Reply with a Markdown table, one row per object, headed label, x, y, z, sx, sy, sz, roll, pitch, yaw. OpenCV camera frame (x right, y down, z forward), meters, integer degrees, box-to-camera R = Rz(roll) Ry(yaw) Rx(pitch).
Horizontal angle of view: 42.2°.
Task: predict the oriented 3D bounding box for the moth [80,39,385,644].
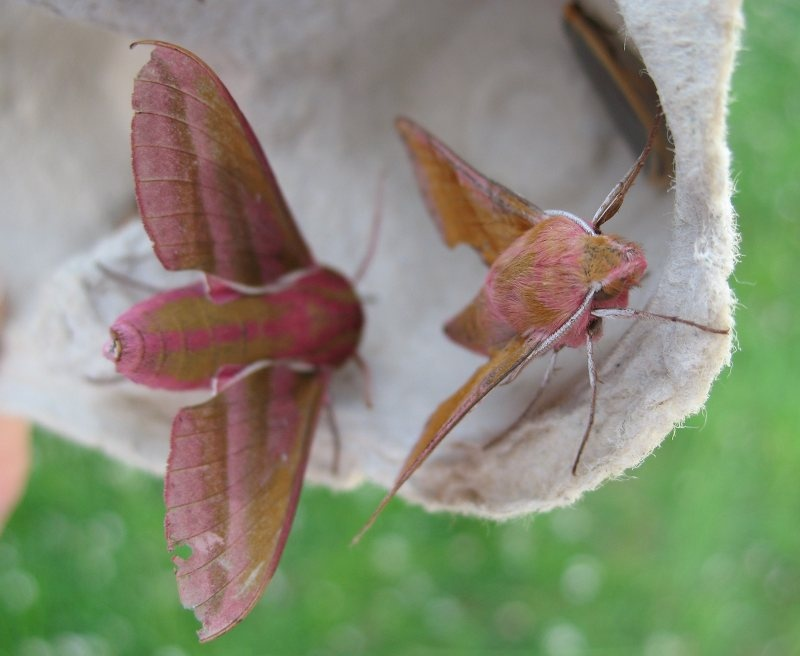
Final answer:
| label | x | y | z | sx | sy | sz | roll | pitch | yaw |
| --- | --- | --- | --- | --- | --- | --- | --- | --- | --- |
| moth | -0.136 | -0.009 | 0.711 | 0.108 | 0.320 | 0.291 | -1 | 39 | 19 |

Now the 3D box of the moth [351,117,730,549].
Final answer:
| label | x | y | z | sx | sy | sz | roll | pitch | yaw |
| --- | --- | --- | --- | --- | --- | --- | --- | --- | --- |
| moth | 0.143 | -0.012 | 0.851 | 0.266 | 0.102 | 0.366 | -25 | 64 | 42 |
